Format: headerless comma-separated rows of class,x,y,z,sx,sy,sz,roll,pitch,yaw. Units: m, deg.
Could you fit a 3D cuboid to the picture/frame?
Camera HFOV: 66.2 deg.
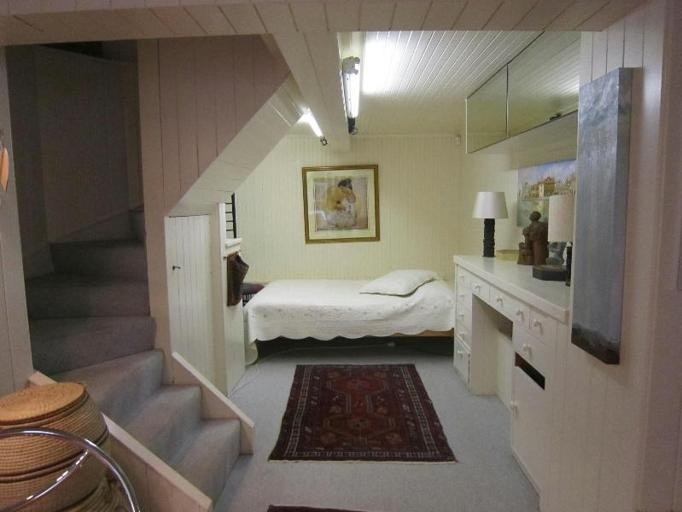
picture/frame,0.004,-0.616,5.909,0.755,0.856,0.032,-1,5,4

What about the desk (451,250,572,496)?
desk,1.231,0.640,3.532,0.486,1.041,2.012,1,7,1

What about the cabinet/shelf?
cabinet/shelf,1.223,-0.945,3.408,0.534,0.827,1.732,0,12,5

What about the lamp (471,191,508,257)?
lamp,1.219,-0.268,4.321,0.259,0.533,0.417,2,12,16

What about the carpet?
carpet,0.153,1.082,3.806,1.122,0.026,1.400,-1,12,2

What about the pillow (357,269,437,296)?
pillow,0.585,0.229,4.933,0.293,0.109,0.497,-4,13,31
